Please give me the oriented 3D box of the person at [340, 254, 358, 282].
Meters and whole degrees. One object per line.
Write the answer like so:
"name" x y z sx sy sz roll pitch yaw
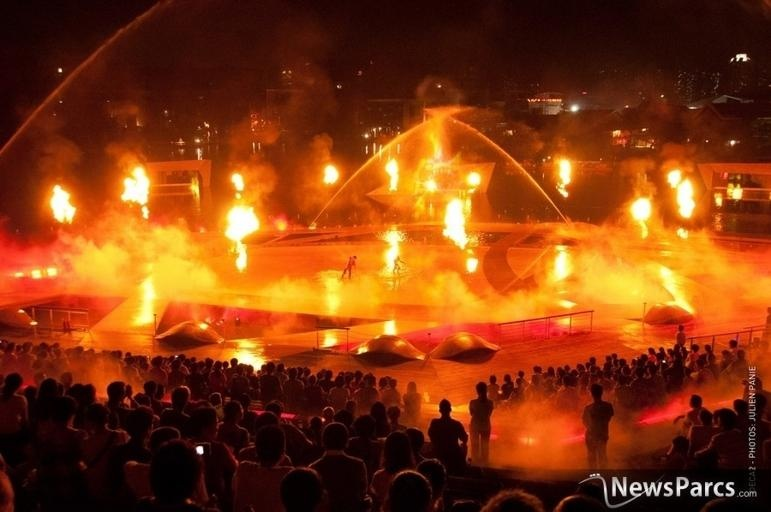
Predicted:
"person" -1.502 0.533 30.960 0.623 0.897 1.857 0 -1 -4

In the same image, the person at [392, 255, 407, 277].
"person" 0.651 0.483 31.995 0.747 0.554 1.232 2 35 0
